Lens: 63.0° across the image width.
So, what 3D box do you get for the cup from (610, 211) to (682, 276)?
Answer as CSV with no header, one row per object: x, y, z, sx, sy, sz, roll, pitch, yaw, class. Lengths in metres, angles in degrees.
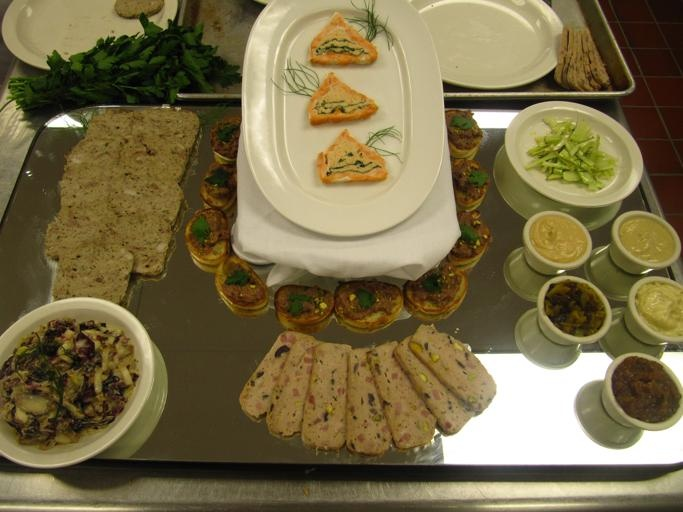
1.237,-0.059,2.261,0.237,0.115,0.272,4,70,5,cup

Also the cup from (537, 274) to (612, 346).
0.895,0.212,2.138,0.238,0.126,0.280,0,78,13,cup

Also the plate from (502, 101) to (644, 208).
1.074,-0.474,2.383,0.483,0.088,0.556,2,67,0,plate

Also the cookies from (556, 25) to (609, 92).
1.170,-0.950,2.729,0.232,0.092,0.409,0,70,0,cookies
